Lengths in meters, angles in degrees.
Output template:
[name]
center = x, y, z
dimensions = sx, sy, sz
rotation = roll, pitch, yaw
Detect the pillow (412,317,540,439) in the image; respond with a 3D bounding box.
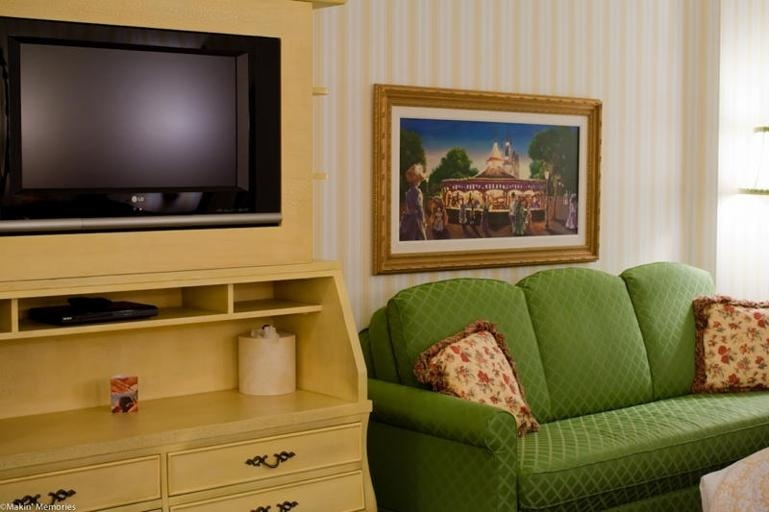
[pillow]
center = 0.480, 0.654, 3.384
dimensions = 0.626, 0.543, 0.362
rotation = -4, 9, -25

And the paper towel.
[paper towel]
center = -0.542, 0.472, 3.060
dimensions = 0.283, 0.340, 0.286
rotation = 0, -1, -27
